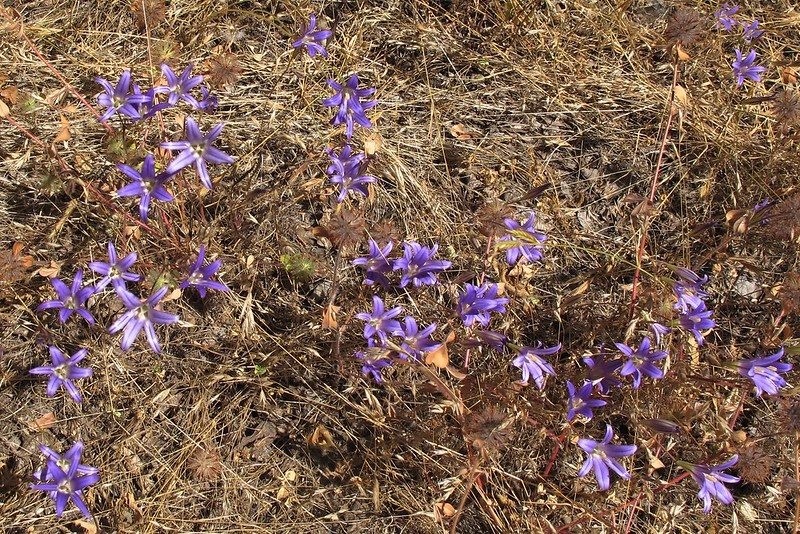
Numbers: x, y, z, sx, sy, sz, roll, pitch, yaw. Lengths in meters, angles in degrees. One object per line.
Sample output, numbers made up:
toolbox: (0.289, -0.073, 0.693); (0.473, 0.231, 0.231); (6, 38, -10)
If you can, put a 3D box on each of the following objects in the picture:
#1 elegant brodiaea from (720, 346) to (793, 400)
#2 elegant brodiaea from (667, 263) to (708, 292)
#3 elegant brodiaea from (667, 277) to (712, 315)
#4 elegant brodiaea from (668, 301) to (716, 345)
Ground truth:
elegant brodiaea: (2.037, 0.594, 4.607); (0.300, 0.216, 0.308); (2, 90, 21)
elegant brodiaea: (1.756, 0.068, 4.997); (0.170, 0.100, 0.110); (24, 111, 14)
elegant brodiaea: (1.668, 0.188, 4.767); (0.110, 0.221, 0.231); (31, 110, 18)
elegant brodiaea: (1.681, 0.299, 4.679); (0.193, 0.256, 0.206); (17, 66, 4)
